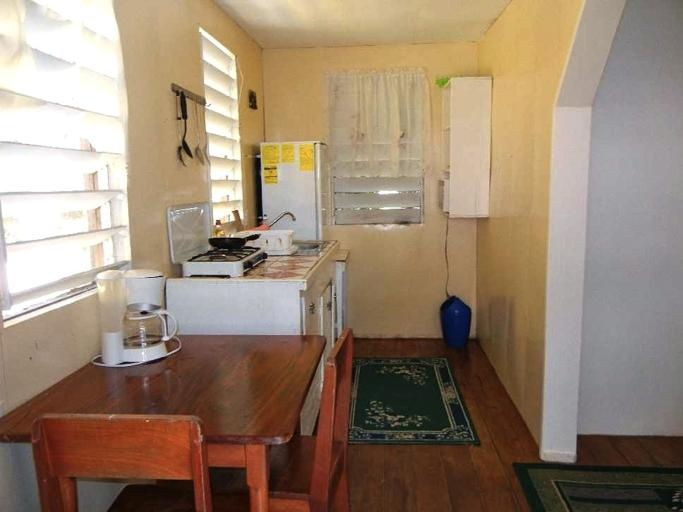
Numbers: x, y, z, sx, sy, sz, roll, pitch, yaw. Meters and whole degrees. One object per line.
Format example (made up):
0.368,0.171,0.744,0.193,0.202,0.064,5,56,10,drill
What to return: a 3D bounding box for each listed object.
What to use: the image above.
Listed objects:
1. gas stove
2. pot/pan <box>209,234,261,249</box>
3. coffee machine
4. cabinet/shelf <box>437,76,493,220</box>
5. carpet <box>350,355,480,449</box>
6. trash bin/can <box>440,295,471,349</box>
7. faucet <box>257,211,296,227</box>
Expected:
-0.776,-0.128,3.429,0.411,0.461,0.738,-4,7,3,gas stove
-0.680,-0.091,3.479,0.222,0.066,0.128,-4,3,-36,pot/pan
-0.879,0.263,2.542,0.302,0.457,0.456,7,10,43,coffee machine
1.116,-1.167,4.818,0.317,0.932,0.532,-5,-2,16,cabinet/shelf
0.494,1.088,3.988,0.849,0.021,1.086,-1,12,2,carpet
1.106,0.629,5.225,0.277,0.458,0.304,1,12,7,trash bin/can
-0.542,-0.320,4.634,0.312,0.138,0.096,-11,18,2,faucet
